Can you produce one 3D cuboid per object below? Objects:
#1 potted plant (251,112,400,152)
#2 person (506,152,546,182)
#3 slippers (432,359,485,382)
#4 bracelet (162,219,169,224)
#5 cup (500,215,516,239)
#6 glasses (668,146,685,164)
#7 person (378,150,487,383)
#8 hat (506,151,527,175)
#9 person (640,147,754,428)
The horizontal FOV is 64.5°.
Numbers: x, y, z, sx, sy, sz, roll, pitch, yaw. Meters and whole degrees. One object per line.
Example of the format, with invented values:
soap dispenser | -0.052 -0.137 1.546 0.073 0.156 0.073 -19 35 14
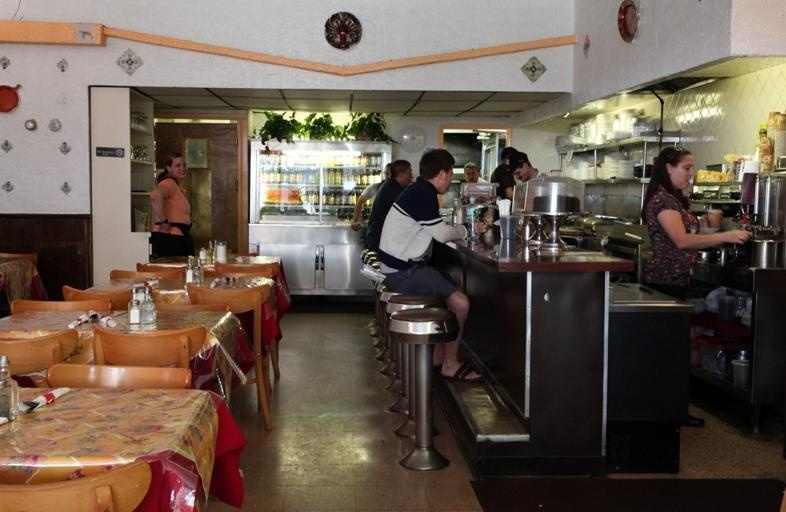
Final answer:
potted plant | -0.989 -1.959 9.613 2.225 0.690 0.772 -1 10 -1
person | 1.583 -1.079 7.605 0.289 0.357 0.786 0 10 1
slippers | 0.567 0.977 5.308 0.337 0.115 0.172 -1 1 23
bracelet | -2.704 -0.402 7.353 0.052 0.048 0.031 0 7 -5
cup | 0.897 -0.232 5.024 0.181 0.184 0.174 0 3 0
glasses | 2.346 -0.832 5.113 0.038 0.120 0.124 21 25 36
person | 0.294 0.054 5.649 0.990 1.989 0.853 3 1 -7
hat | 1.493 -1.146 7.606 0.278 0.157 0.208 -6 9 34
person | 2.403 -0.268 5.076 0.698 1.216 0.411 4 11 20
